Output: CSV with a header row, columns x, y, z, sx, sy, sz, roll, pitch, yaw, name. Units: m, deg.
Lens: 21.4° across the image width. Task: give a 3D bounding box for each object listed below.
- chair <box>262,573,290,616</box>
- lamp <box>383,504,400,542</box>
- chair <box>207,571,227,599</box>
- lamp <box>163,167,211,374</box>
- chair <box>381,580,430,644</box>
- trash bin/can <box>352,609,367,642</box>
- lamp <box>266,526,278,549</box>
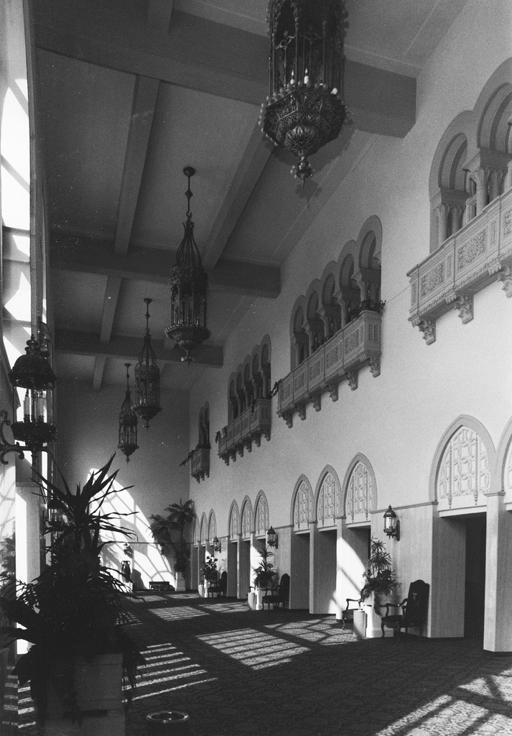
x,y,z,sx,sy,sz,roll,pitch,yaw,name
0.352,4.392,26.552,0.440,0.721,1.440,1,-14,-7,chair
1.976,2.270,19.966,0.193,0.536,0.370,2,-12,-12,lamp
-0.997,5.440,34.144,0.451,0.721,1.220,0,-14,-3,chair
-1.236,-1.903,23.687,0.849,4.761,1.076,1,-23,-5,lamp
2.019,3.367,19.028,0.589,0.750,1.098,1,-14,-7,chair
1.471,3.600,19.115,0.168,0.428,0.383,0,-12,-4,trash bin/can
0.320,3.456,27.722,0.207,0.446,0.598,0,-13,-2,lamp
